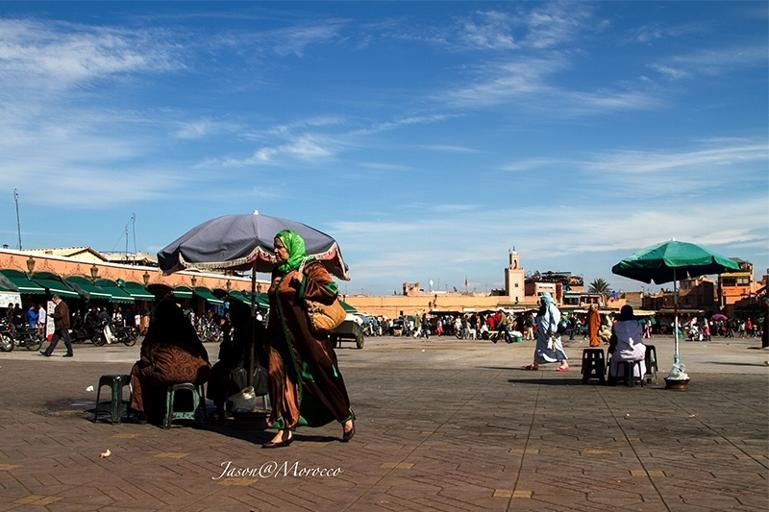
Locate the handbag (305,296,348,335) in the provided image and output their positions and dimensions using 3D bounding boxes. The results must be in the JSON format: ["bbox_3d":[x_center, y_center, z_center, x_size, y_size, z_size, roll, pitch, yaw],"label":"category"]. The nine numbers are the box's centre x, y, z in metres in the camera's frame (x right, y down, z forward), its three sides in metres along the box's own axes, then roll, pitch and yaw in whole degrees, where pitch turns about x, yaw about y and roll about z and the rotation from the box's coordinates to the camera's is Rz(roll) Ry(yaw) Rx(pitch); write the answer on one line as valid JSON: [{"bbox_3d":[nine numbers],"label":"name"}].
[{"bbox_3d":[-0.737,0.742,8.101,0.473,0.433,0.311,-1,-7,-4],"label":"handbag"}]

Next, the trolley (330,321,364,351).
[{"bbox_3d":[-1.777,3.686,31.038,2.342,1.030,3.770,0,-8,2],"label":"trolley"}]

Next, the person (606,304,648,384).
[{"bbox_3d":[5.079,1.843,13.649,0.719,1.604,0.671,-4,-7,19],"label":"person"}]

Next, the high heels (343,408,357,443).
[{"bbox_3d":[-0.422,2.140,8.162,0.130,0.354,0.155,11,-12,-42],"label":"high heels"}]

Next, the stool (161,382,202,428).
[{"bbox_3d":[-2.848,2.072,9.135,0.509,0.591,0.298,0,-7,-13],"label":"stool"}]

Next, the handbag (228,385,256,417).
[{"bbox_3d":[-2.106,2.124,9.654,0.453,0.340,0.342,2,-2,-3],"label":"handbag"}]

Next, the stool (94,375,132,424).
[{"bbox_3d":[-3.936,2.085,9.544,0.673,0.539,0.592,4,-10,-26],"label":"stool"}]

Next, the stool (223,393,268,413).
[{"bbox_3d":[-2.091,2.246,9.736,0.628,0.165,0.426,1,-5,-1],"label":"stool"}]

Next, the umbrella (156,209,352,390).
[{"bbox_3d":[-1.845,0.625,10.713,3.377,2.170,3.110,3,-2,-32],"label":"umbrella"}]

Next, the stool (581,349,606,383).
[{"bbox_3d":[4.721,2.427,14.590,0.509,0.738,0.962,-3,-7,16],"label":"stool"}]

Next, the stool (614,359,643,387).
[{"bbox_3d":[5.185,2.492,13.816,0.721,0.508,0.614,-1,-12,12],"label":"stool"}]

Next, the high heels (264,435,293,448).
[{"bbox_3d":[-1.277,2.261,7.896,0.362,0.079,0.115,4,-9,-20],"label":"high heels"}]

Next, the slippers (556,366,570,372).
[{"bbox_3d":[4.948,3.048,17.668,0.172,0.104,0.424,-8,-10,39],"label":"slippers"}]
